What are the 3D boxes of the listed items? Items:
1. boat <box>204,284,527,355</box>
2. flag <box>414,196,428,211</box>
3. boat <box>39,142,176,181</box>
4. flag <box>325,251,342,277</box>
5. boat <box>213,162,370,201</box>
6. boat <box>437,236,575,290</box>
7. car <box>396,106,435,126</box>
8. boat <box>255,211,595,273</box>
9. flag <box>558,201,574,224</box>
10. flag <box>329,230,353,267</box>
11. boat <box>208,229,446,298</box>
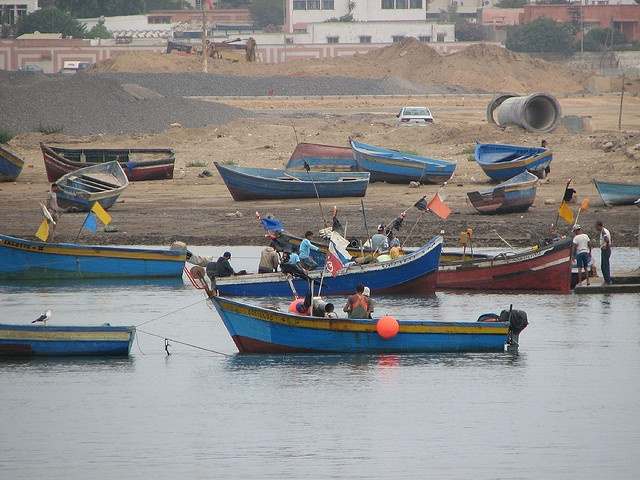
[{"bbox_3d":[3.746,6.908,153.572,23.819,4.274,4.765,0,-4,7],"label":"boat"},{"bbox_3d":[8.198,-2.559,160.914,1.417,1.382,0.155,8,14,22],"label":"flag"},{"bbox_3d":[-17.675,-6.444,172.785,11.517,3.221,3.505,-1,18,-18],"label":"boat"},{"bbox_3d":[1.174,2.051,153.985,1.285,2.042,1.508,-3,7,-3],"label":"flag"},{"bbox_3d":[-2.009,-4.563,168.085,12.515,3.247,3.472,0,17,-4],"label":"boat"},{"bbox_3d":[14.258,2.589,157.881,11.501,3.440,3.254,-4,-4,1],"label":"boat"},{"bbox_3d":[8.888,-10.956,185.440,3.063,1.466,2.816,-3,6,0],"label":"car"},{"bbox_3d":[5.457,1.876,157.618,20.139,5.022,13.672,-3,9,-12],"label":"boat"},{"bbox_3d":[19.332,-1.869,157.447,1.110,1.856,1.752,-2,7,6],"label":"flag"},{"bbox_3d":[1.647,1.036,154.503,2.424,2.983,0.375,16,-26,-42],"label":"flag"},{"bbox_3d":[0.604,2.543,157.282,18.185,4.627,4.113,-3,9,2],"label":"boat"}]
